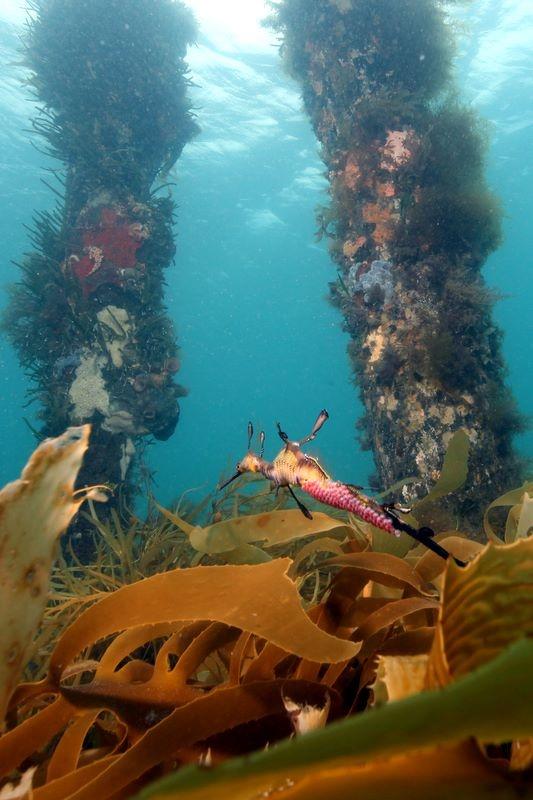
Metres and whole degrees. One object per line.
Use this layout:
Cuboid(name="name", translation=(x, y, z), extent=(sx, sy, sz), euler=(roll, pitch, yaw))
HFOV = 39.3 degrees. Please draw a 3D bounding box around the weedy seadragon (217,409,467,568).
Cuboid(name="weedy seadragon", translation=(0.064, 0.075, 0.892), extent=(0.112, 0.118, 0.401), euler=(-35, 32, -26))
